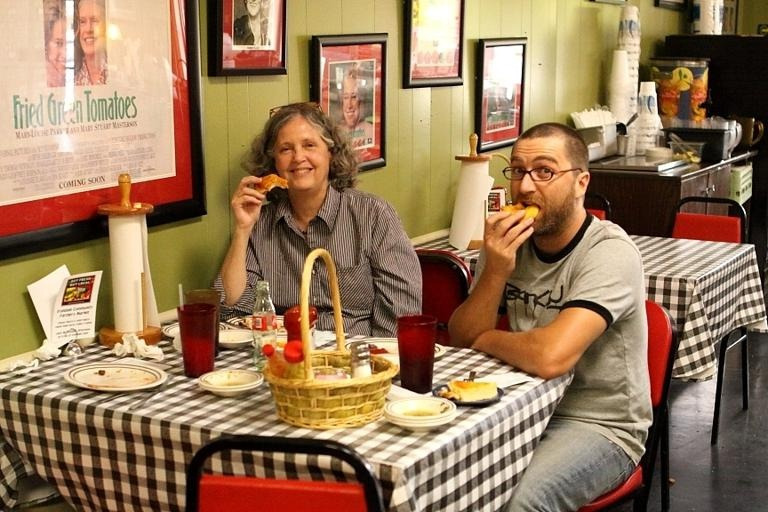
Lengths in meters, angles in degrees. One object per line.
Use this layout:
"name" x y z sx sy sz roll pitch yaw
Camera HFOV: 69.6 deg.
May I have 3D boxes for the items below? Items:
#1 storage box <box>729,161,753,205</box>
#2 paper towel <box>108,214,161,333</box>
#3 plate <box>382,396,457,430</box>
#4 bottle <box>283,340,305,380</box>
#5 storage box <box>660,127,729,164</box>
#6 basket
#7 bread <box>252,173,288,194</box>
"storage box" 3.426 -0.706 5.300 0.311 0.374 0.570 4 15 31
"paper towel" -0.905 0.059 1.949 0.148 0.410 0.132 -8 15 -23
"plate" 0.089 0.382 1.348 0.089 0.023 0.088 1 10 27
"bottle" -0.217 0.241 1.305 0.042 0.087 0.061 -6 15 -15
"storage box" 2.793 -0.976 4.966 0.513 0.239 0.348 3 7 32
"basket" -0.115 0.159 1.508 0.420 0.522 0.402 -4 10 -12
"bread" -0.467 -0.288 2.239 0.113 0.078 0.026 13 -14 17
